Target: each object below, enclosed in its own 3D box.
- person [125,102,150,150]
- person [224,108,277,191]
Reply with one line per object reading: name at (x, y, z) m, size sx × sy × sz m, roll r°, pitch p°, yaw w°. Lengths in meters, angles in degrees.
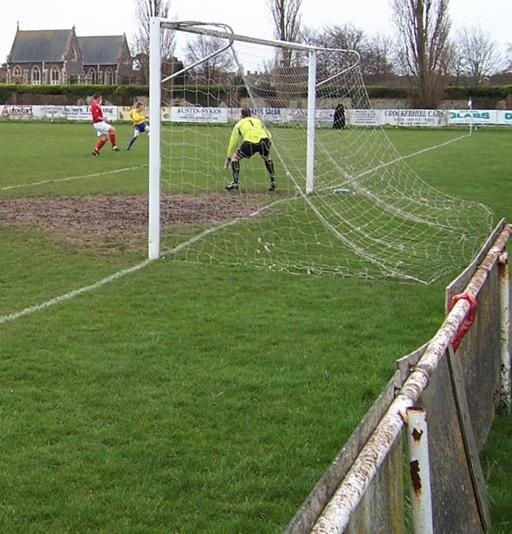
person at (-3.251, -3.910, 18.859) m, size 0.819 × 1.194 × 0.531 m, roll -13°, pitch -1°, yaw 4°
person at (-0.132, -2.040, 11.882) m, size 0.718 × 1.577 × 0.828 m, roll -1°, pitch -5°, yaw -18°
